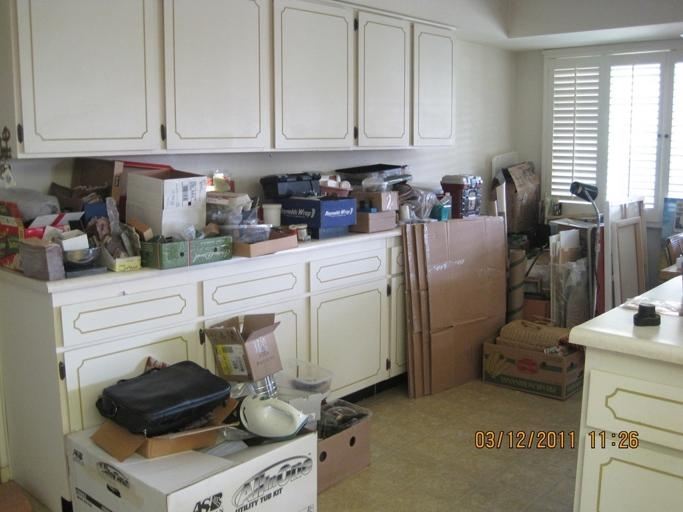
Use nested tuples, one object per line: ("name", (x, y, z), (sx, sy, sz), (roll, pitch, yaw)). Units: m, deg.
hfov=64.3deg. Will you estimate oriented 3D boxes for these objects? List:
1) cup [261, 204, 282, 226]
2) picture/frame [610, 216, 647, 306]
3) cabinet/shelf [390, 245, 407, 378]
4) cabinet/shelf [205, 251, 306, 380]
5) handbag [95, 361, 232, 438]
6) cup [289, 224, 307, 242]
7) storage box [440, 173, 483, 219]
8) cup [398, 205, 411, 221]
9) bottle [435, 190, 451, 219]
("cup", (-0.416, -0.253, 3.285), (0.120, 0.127, 0.125), (0, 9, 0))
("picture/frame", (2.225, 0.039, 4.242), (0.056, 0.738, 0.615), (0, 7, 39))
("cabinet/shelf", (0.371, 0.370, 3.687), (0.178, 0.882, 0.099), (-12, 18, -42))
("cabinet/shelf", (-0.467, 0.294, 2.786), (0.205, 0.560, 0.585), (2, 7, 38))
("handbag", (-0.732, 0.592, 2.304), (0.363, 0.115, 0.290), (-14, 24, -40))
("cup", (-0.240, -0.131, 3.187), (0.116, 0.116, 0.068), (-9, 13, -27))
("storage box", (0.931, -0.466, 4.163), (0.317, 0.475, 0.320), (-9, 10, -44))
("cup", (0.434, -0.295, 3.766), (0.069, 0.074, 0.134), (8, 16, 2))
("bottle", (0.739, -0.372, 3.986), (0.077, 0.212, 0.171), (2, 14, 18))
